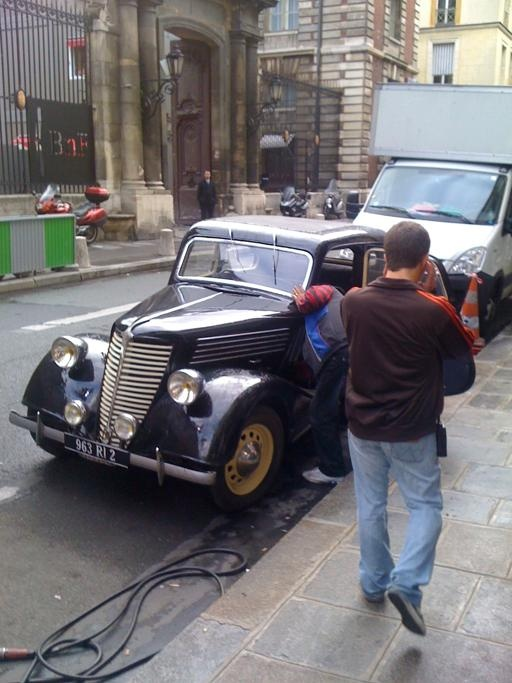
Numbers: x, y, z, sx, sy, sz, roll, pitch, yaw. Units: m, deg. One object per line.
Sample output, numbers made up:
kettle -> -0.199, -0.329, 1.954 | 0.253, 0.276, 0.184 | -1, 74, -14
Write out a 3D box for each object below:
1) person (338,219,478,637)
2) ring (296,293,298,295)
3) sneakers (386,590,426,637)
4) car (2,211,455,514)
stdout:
person -> 0.503, 0.313, 2.162 | 0.341, 1.474, 0.530 | -5, 2, -34
ring -> 0.275, -0.320, 4.054 | 0.004, 0.015, 0.015 | 18, -17, 36
sneakers -> 0.526, 0.956, 2.107 | 0.076, 0.200, 0.068 | -30, 4, -40
car -> -0.048, -0.171, 4.510 | 1.461, 1.387, 2.807 | 9, 16, 34
